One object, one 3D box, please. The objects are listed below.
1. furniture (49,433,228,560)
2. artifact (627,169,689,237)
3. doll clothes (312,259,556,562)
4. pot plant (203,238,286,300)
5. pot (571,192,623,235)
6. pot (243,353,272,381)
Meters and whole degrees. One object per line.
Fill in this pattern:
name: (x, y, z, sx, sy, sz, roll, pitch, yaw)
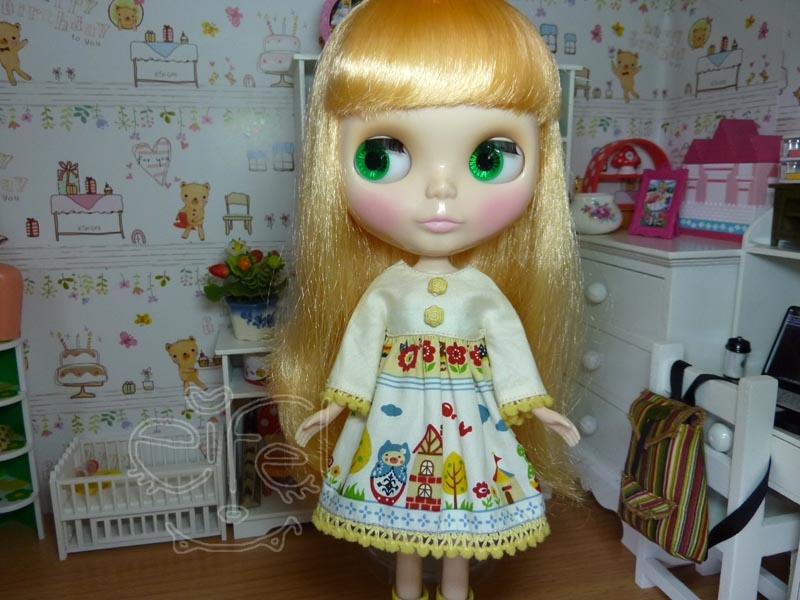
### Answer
furniture: (-1.101, 0.783, 2.550, 0.634, 0.453, 0.435, -5, 13, -15)
artifact: (1.052, -0.393, 2.486, 0.190, 0.270, 0.158, 7, 13, 42)
doll clothes: (0.100, 0.310, 1.862, 0.819, 1.095, 0.523, 2, -4, 1)
pot plant: (-0.601, -0.054, 2.465, 0.261, 0.188, 0.303, 8, -6, 5)
pot: (0.827, -0.353, 2.488, 0.165, 0.130, 0.178, -2, 2, 0)
pot: (-0.573, 0.268, 2.412, 0.100, 0.087, 0.108, 0, 5, 0)
